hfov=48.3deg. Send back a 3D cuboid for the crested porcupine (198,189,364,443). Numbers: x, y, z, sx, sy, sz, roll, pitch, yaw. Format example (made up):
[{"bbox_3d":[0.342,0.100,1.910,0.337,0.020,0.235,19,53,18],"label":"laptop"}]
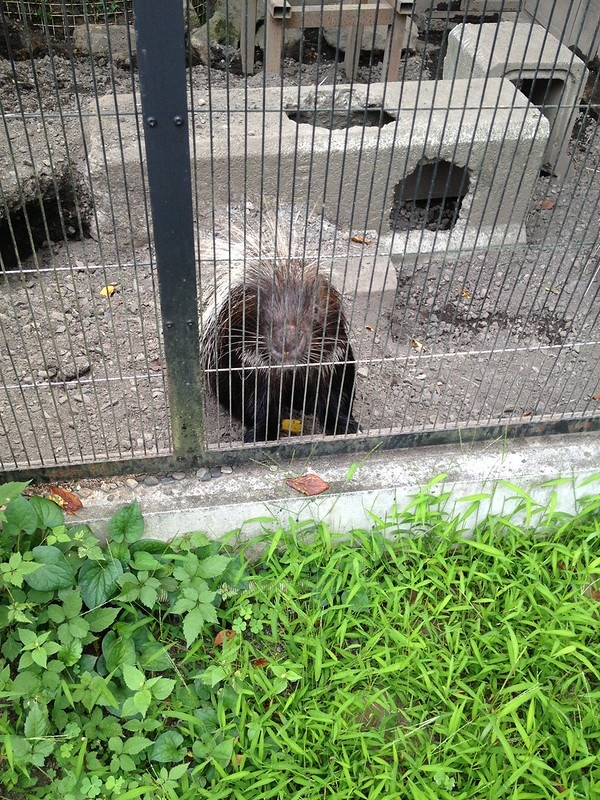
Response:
[{"bbox_3d":[-0.115,-0.414,3.089,0.464,0.658,1.345,-8,32,-1],"label":"crested porcupine"}]

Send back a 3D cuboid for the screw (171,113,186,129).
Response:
[{"bbox_3d":[-0.277,-0.634,1.529,0.025,0.027,0.012,-2,35,-10],"label":"screw"}]

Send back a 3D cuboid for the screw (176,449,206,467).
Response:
[{"bbox_3d":[-0.376,0.204,2.304,0.067,0.065,0.020,0,35,-4],"label":"screw"}]

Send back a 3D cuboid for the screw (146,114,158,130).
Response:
[{"bbox_3d":[-0.337,-0.628,1.516,0.020,0.021,0.007,3,26,4],"label":"screw"}]

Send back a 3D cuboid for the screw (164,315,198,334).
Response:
[{"bbox_3d":[-0.339,-0.212,1.894,0.095,0.038,0.006,-6,36,-15],"label":"screw"}]
